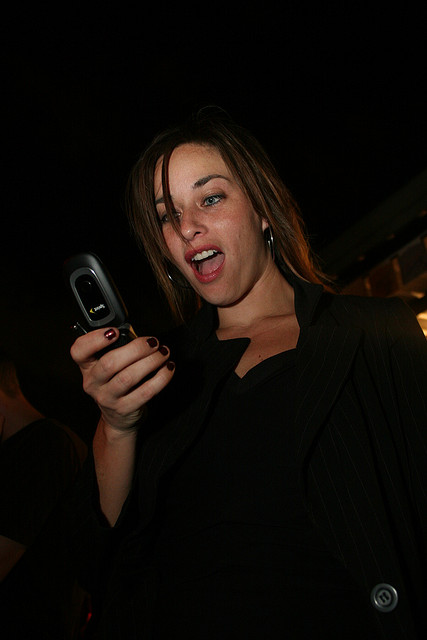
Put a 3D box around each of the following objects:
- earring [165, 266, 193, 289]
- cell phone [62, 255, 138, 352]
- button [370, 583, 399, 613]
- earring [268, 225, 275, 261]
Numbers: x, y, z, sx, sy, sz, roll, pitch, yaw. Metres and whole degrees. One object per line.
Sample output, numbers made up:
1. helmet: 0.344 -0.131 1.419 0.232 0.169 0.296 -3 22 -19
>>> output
1. earring: -0.128 -0.144 1.971 0.035 0.087 0.117 -24 -2 18
2. cell phone: -0.262 -0.033 1.245 0.126 0.219 0.109 -24 -1 7
3. button: 0.326 0.528 1.072 0.051 0.053 0.028 -24 -1 16
4. earring: 0.182 -0.241 1.798 0.013 0.117 0.013 -7 4 -8
